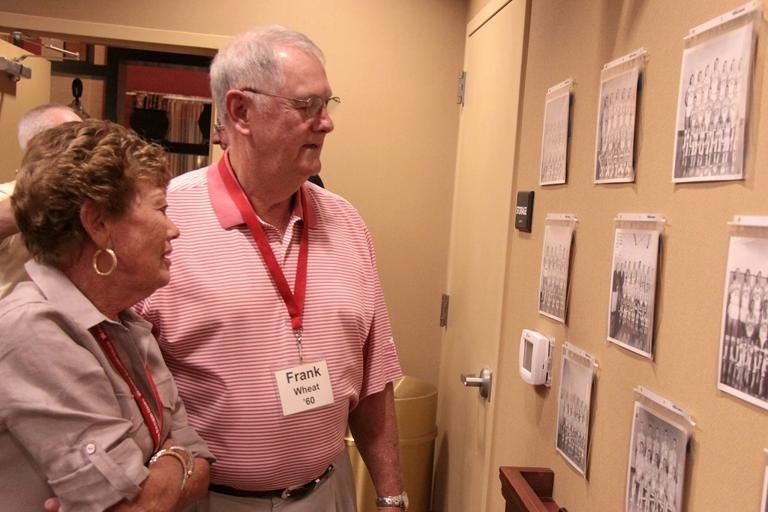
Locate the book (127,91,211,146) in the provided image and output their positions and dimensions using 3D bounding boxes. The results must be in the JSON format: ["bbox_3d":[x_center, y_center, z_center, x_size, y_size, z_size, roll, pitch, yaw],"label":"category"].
[{"bbox_3d":[-2.226,-1.517,5.959,1.080,0.344,0.798,2,7,-1],"label":"book"}]
